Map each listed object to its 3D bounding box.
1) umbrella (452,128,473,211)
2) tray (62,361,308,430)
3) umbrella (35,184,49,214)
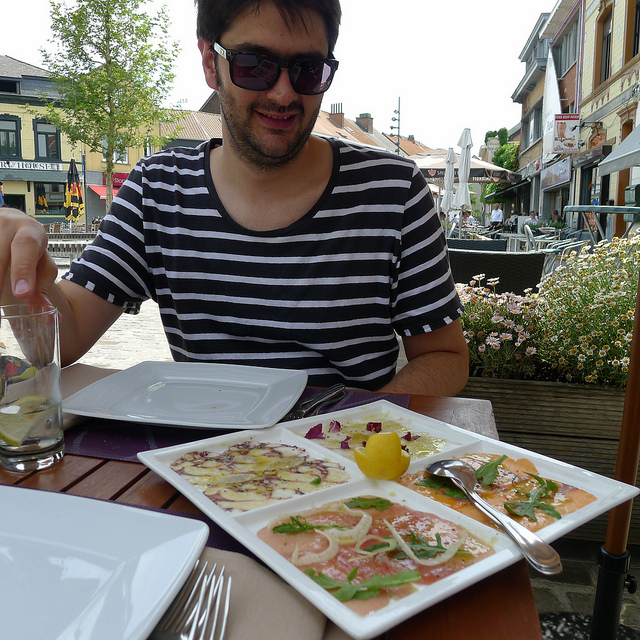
[{"bbox_3d":[3.203,-3.351,12.559,0.446,1.746,0.453,-17,-23,41],"label":"umbrella"},{"bbox_3d":[-0.309,0.182,1.288,0.502,0.060,0.500,4,9,11],"label":"tray"},{"bbox_3d":[-17.836,-7.683,34.473,0.682,1.812,0.585,-5,12,-25],"label":"umbrella"}]
